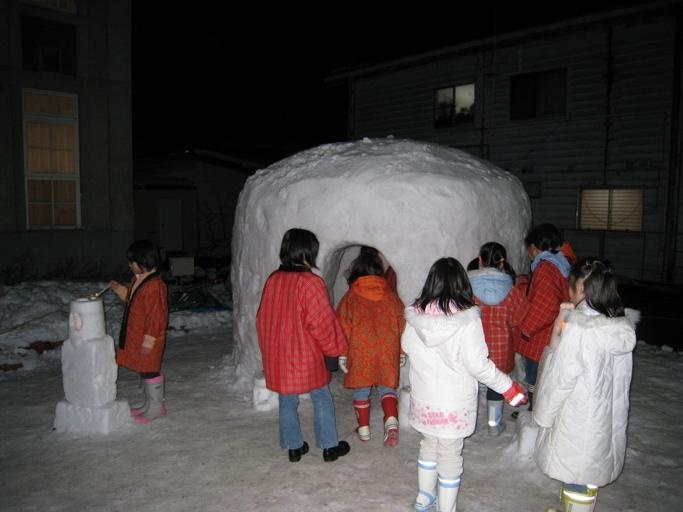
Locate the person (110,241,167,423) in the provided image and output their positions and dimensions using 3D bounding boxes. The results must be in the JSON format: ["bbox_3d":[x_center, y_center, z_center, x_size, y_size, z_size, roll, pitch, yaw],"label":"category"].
[{"bbox_3d":[-2.196,0.833,5.721,0.586,2.010,0.393,4,11,22],"label":"person"}]

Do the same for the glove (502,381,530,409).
[{"bbox_3d":[1.427,1.143,4.238,0.161,0.287,0.268,6,11,30],"label":"glove"}]

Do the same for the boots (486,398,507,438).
[{"bbox_3d":[1.675,1.739,5.673,0.174,0.405,0.413,-1,4,27],"label":"boots"}]

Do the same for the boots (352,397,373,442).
[{"bbox_3d":[0.230,1.740,5.581,0.192,0.425,0.426,-5,-3,-1],"label":"boots"}]

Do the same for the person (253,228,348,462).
[{"bbox_3d":[-0.368,0.884,4.981,0.876,2.274,0.375,-1,10,-10],"label":"person"}]

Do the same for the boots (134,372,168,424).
[{"bbox_3d":[-2.194,1.596,5.821,0.387,0.471,0.259,-5,11,-18],"label":"boots"}]

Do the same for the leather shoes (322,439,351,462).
[{"bbox_3d":[-0.052,1.938,5.180,0.118,0.135,0.308,5,10,38],"label":"leather shoes"}]

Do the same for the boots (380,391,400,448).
[{"bbox_3d":[0.502,1.681,5.401,0.196,0.530,0.260,1,10,2],"label":"boots"}]

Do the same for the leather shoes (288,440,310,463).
[{"bbox_3d":[-0.409,1.929,5.150,0.097,0.195,0.268,3,16,15],"label":"leather shoes"}]
